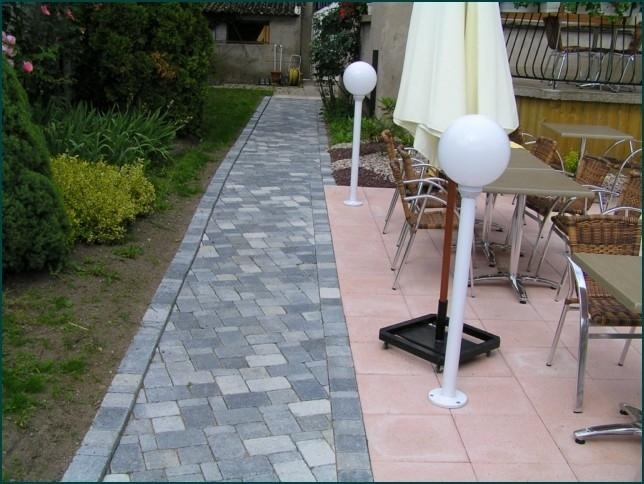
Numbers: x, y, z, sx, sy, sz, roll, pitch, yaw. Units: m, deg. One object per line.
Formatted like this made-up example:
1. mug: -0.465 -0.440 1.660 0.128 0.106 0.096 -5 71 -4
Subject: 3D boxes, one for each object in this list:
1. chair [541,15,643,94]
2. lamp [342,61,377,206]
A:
1. chair: 5.337 -3.818 10.773 1.839 1.363 3.609 5 18 20
2. lamp: 0.522 -1.500 7.485 0.418 1.875 0.827 0 18 3
